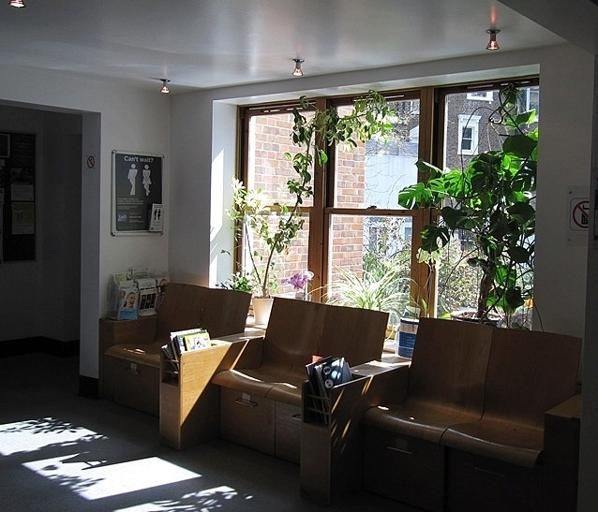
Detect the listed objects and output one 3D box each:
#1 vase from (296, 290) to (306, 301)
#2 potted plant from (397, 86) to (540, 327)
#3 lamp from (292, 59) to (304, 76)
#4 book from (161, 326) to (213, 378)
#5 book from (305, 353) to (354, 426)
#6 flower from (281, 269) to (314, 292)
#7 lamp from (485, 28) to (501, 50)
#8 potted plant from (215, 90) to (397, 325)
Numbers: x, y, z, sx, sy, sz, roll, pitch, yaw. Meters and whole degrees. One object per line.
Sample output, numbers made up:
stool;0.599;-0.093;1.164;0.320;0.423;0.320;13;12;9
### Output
vase;0.017;0.378;4.518;0.083;0.091;0.158;5;0;9
potted plant;1.318;-0.441;3.559;0.864;1.766;0.686;2;3;28
lamp;-0.023;-1.547;3.832;0.106;0.112;0.110;4;11;12
book;-0.932;0.730;3.826;0.130;0.323;0.403;-7;-6;22
book;0.188;0.852;3.024;0.105;0.397;0.274;6;-6;-26
flower;0.019;0.197;4.460;0.235;0.221;0.229;-4;1;44
lamp;1.248;-1.414;3.019;0.116;0.136;0.106;3;7;15
potted plant;0.110;-0.475;4.528;1.674;2.420;0.723;18;14;36
